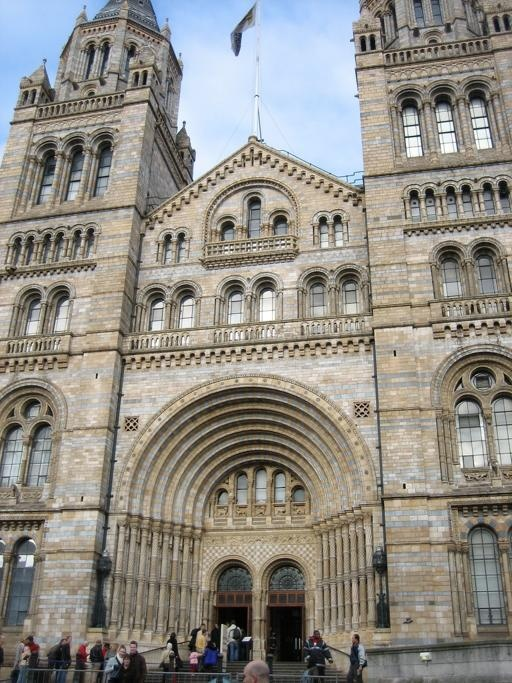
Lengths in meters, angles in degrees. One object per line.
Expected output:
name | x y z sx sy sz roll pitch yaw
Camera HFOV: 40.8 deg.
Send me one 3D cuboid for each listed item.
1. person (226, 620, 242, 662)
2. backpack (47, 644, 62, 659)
person | -0.722 9.636 22.147 0.441 1.179 0.900 0 -28 3
backpack | -5.255 8.094 17.967 0.494 0.329 0.345 -1 -12 1
